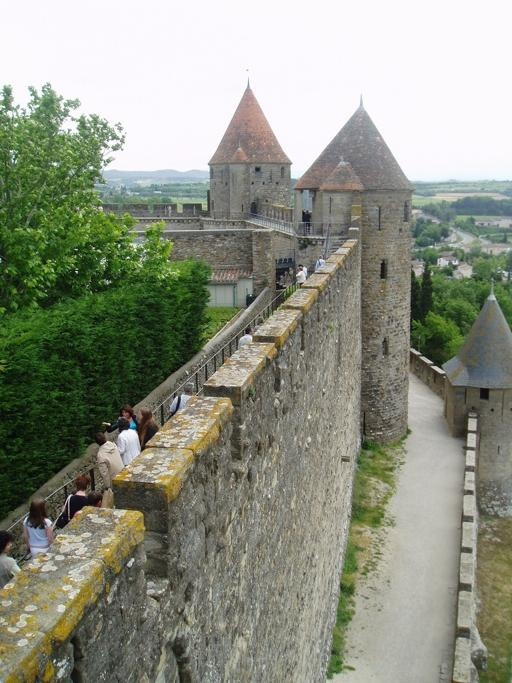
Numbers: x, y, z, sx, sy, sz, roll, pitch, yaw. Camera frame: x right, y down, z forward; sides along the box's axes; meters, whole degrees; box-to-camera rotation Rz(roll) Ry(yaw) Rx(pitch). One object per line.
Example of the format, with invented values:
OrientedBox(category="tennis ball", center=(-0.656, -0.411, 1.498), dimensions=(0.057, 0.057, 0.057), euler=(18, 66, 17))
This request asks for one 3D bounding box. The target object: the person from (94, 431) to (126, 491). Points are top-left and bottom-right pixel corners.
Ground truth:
OrientedBox(category="person", center=(-1.871, 1.609, 7.547), dimensions=(0.333, 0.863, 0.677), euler=(-2, 11, -14))
